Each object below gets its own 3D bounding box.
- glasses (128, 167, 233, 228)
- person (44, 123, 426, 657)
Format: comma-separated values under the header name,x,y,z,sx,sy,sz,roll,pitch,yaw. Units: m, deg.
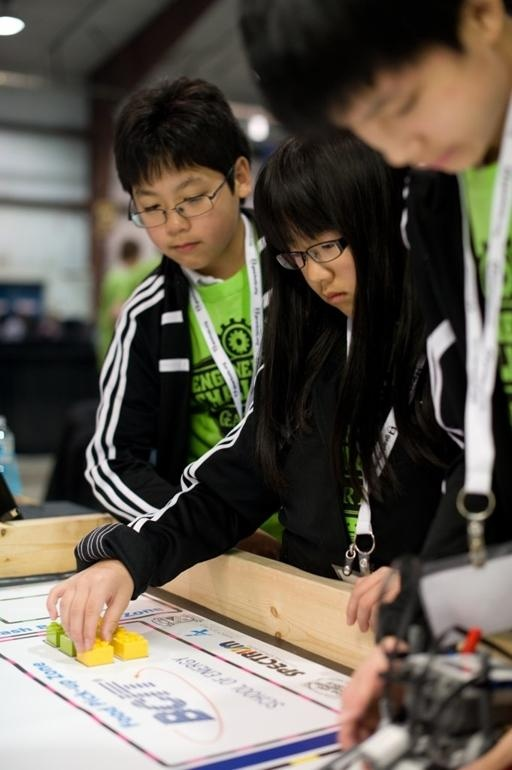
name,x,y,z,sx,sy,sz,roll,pitch,yaw
glasses,-0.163,-0.371,1.400,0.165,0.049,0.165,-12,27,39
person,-0.066,-0.037,1.307,0.846,0.834,0.595,-13,8,-33
